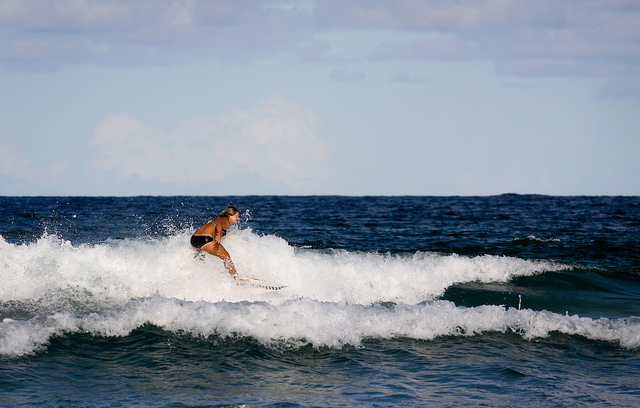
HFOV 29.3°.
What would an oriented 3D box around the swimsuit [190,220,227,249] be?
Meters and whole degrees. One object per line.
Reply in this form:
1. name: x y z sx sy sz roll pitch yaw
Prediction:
1. swimsuit: -4.406 1.270 47.570 1.067 0.745 0.439 -4 40 -11
